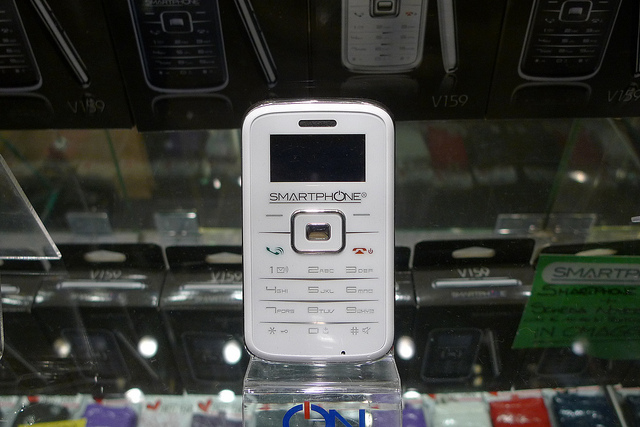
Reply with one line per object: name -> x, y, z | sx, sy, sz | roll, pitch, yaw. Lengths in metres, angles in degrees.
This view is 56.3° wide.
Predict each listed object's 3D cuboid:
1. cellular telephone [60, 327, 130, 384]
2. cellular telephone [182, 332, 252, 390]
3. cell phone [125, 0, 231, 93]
cellular telephone -> -0.381, 0.245, 1.012 | 0.072, 0.093, 0.008 | -14, -17, -15
cellular telephone -> -0.172, 0.245, 1.012 | 0.124, 0.091, 0.029 | 2, -9, 4
cell phone -> -0.212, -0.257, 0.898 | 0.115, 0.025, 0.196 | -4, -56, -3
